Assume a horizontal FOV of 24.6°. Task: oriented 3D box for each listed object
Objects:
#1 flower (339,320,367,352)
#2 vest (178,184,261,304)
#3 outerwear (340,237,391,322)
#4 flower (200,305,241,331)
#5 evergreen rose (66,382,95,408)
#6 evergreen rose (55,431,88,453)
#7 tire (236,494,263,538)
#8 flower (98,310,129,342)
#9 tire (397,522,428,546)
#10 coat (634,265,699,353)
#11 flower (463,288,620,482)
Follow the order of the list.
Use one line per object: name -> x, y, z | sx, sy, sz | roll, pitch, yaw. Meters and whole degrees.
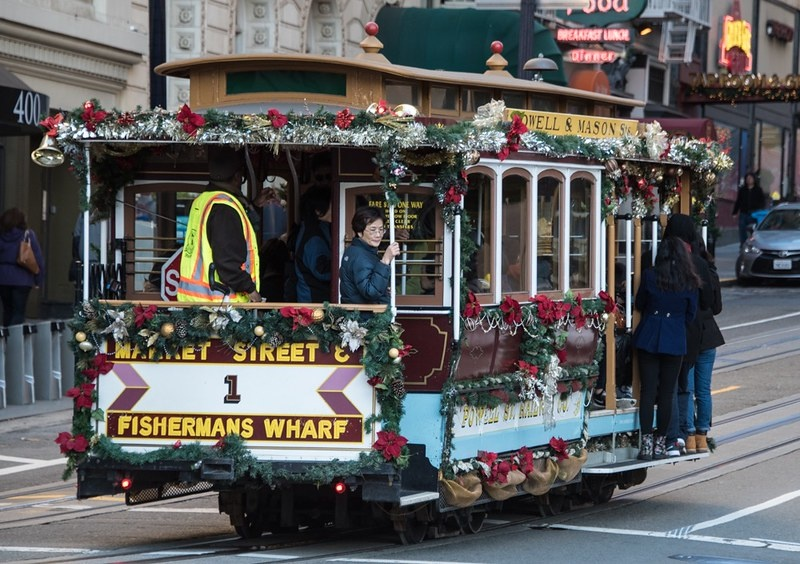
flower -> -0.509, 0.546, 19.389 | 0.299, 0.308, 0.114 | 8, 11, 0
vest -> -2.057, -0.470, 20.613 | 1.039, 1.749, 1.398 | 0, 1, -19
outerwear -> -0.369, -0.013, 19.739 | 0.428, 0.635, 0.707 | -12, 16, -11
flower -> -1.904, 0.347, 19.599 | 0.288, 0.285, 0.148 | 3, 8, 29
evergreen rose -> -3.455, 1.199, 19.812 | 0.303, 0.262, 0.190 | -1, -2, -13
evergreen rose -> -3.551, 1.716, 19.835 | 0.334, 0.219, 0.205 | -1, -2, -11
tire -> -1.720, 2.722, 20.746 | 0.117, 0.308, 0.291 | -34, -22, 32
flower -> -3.089, 0.446, 19.695 | 0.274, 0.316, 0.116 | 18, 9, 22
tire -> 0.127, 2.743, 20.271 | 0.207, 0.246, 0.449 | -3, -2, 38
coat -> 3.190, 0.307, 22.185 | 0.947, 1.273, 0.930 | 6, 4, 11
flower -> 1.613, 1.178, 20.977 | 1.755, 2.012, 0.635 | 2, 8, -30
